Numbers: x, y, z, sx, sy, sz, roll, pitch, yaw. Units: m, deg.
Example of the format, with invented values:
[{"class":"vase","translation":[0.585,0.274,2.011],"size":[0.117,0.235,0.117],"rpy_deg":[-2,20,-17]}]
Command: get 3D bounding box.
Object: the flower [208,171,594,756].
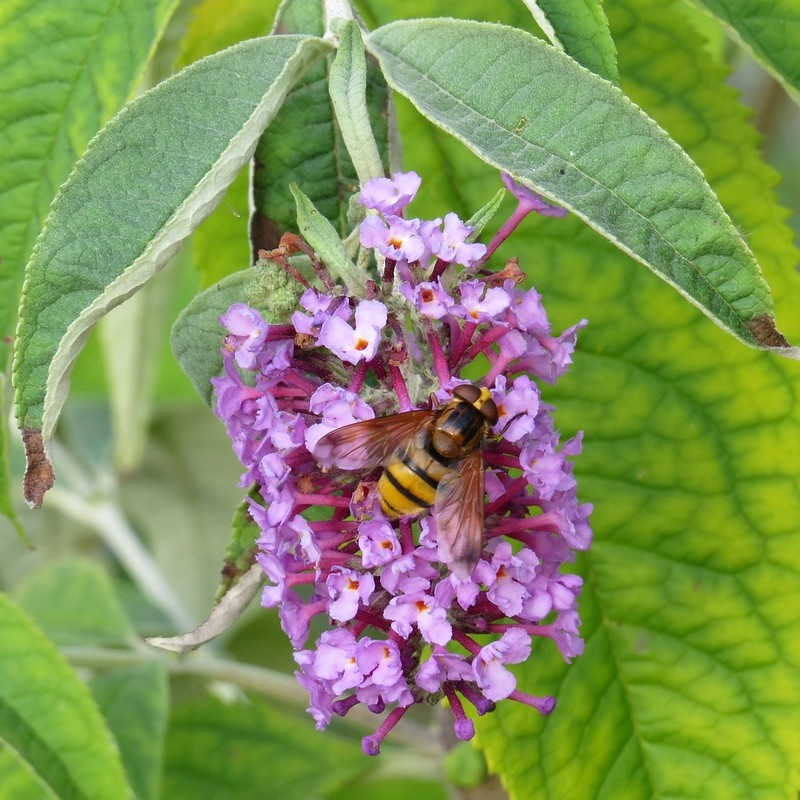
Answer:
[{"class":"flower","translation":[0.010,0.077,1.664],"size":[0.629,0.318,0.880],"rpy_deg":[2,77,-9]}]
